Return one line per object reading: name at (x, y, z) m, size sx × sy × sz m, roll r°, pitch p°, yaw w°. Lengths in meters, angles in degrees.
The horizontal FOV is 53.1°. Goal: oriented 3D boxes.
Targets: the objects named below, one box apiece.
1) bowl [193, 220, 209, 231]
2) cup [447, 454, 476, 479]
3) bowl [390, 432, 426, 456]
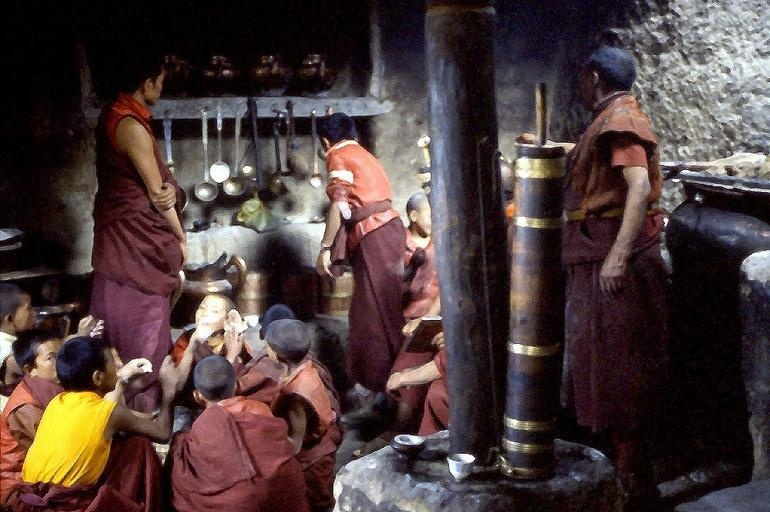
bowl at (-1.518, -0.267, 6.371) m, size 0.147 × 0.095 × 0.139 m, roll -1°, pitch 7°, yaw 0°
cup at (0.337, 0.910, 3.368) m, size 0.094 × 0.070 × 0.097 m, roll -2°, pitch 0°, yaw 0°
bowl at (0.108, 0.852, 3.569) m, size 0.157 × 0.070 × 0.218 m, roll -1°, pitch 7°, yaw 2°
